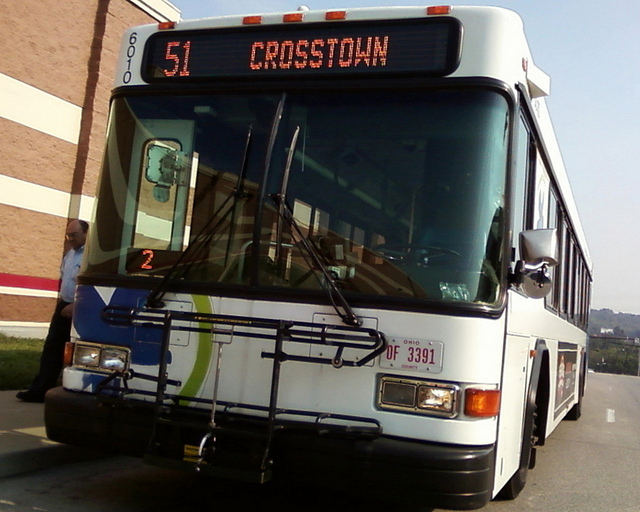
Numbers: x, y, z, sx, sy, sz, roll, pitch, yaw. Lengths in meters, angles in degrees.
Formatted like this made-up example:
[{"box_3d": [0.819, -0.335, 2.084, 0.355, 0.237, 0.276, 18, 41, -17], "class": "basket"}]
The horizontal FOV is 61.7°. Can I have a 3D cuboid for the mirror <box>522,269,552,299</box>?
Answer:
[{"box_3d": [1.468, 0.176, 3.614, 0.239, 0.183, 0.049, 17, -2, -14], "class": "mirror"}]

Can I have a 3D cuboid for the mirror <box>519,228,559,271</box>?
[{"box_3d": [1.462, -0.057, 3.593, 0.255, 0.298, 0.237, 8, -8, 18], "class": "mirror"}]

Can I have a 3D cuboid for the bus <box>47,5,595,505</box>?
[{"box_3d": [-0.114, -0.148, 3.758, 3.113, 3.366, 0.752, 8, -10, 23], "class": "bus"}]

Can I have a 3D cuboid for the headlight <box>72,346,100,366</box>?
[{"box_3d": [-1.733, 0.714, 4.007, 0.195, 0.144, 0.114, 5, -1, 7], "class": "headlight"}]
